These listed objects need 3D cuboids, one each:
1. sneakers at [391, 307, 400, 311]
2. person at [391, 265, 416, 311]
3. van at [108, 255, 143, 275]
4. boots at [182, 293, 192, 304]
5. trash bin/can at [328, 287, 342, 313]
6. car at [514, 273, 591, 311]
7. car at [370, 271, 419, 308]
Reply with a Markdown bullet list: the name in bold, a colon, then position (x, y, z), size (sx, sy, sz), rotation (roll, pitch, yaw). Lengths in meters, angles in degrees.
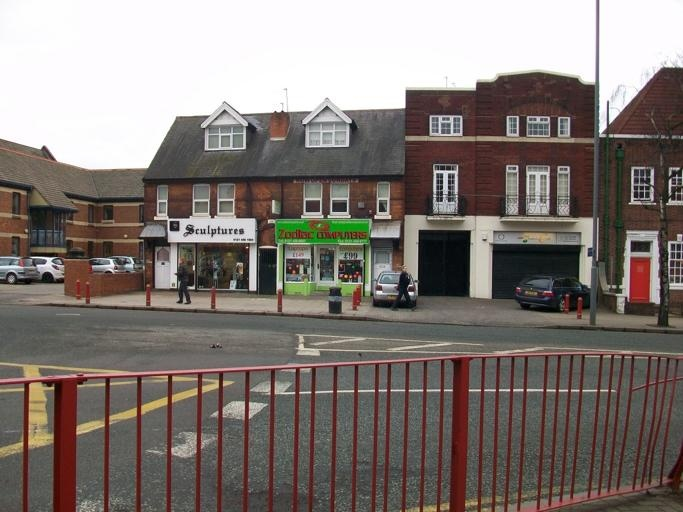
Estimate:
- **sneakers**: position (2.114, 2.081, 38.151), size (0.278, 0.132, 0.099), rotation (-2, 8, 0)
- **person**: position (2.498, 1.256, 38.451), size (0.881, 1.734, 1.556), rotation (1, -1, 3)
- **van**: position (-12.204, 0.489, 53.417), size (1.952, 1.109, 1.192), rotation (4, 2, 5)
- **boots**: position (-6.469, 1.758, 39.967), size (0.172, 0.395, 0.564), rotation (-3, 36, 5)
- **trash bin/can**: position (-0.246, 1.664, 36.304), size (0.459, 0.974, 0.553), rotation (1, -1, -3)
- **car**: position (9.134, 1.447, 40.178), size (3.057, 1.140, 1.398), rotation (-2, 3, -38)
- **car**: position (2.157, 1.392, 39.615), size (1.240, 1.068, 2.633), rotation (0, 4, 5)
